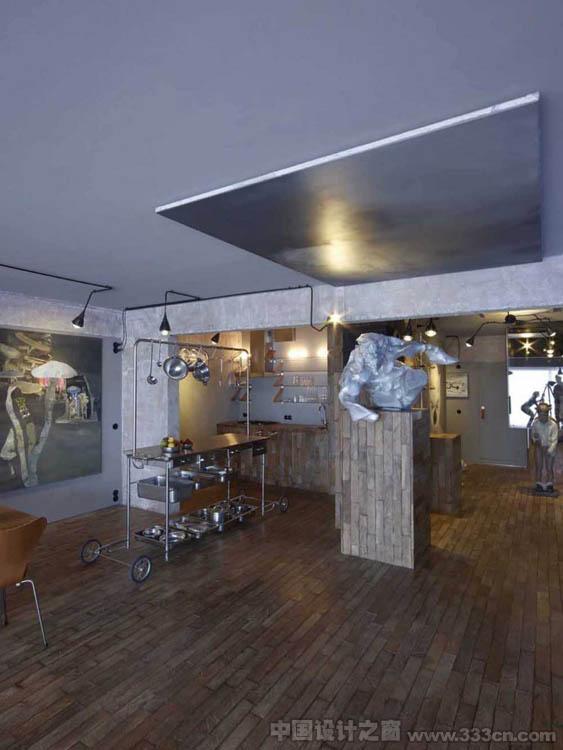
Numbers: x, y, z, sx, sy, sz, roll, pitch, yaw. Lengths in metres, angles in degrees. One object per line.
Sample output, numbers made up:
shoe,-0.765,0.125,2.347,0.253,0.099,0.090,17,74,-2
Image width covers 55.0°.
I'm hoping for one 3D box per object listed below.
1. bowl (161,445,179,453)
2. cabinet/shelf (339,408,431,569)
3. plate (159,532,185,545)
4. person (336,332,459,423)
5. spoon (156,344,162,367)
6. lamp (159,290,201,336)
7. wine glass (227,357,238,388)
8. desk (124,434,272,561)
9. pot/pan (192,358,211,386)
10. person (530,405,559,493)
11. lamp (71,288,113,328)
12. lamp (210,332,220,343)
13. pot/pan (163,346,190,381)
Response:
bowl,-0.995,0.667,4.834,0.153,0.049,0.168,0,1,0
cabinet/shelf,0.867,0.905,4.505,0.753,1.235,0.551,0,1,9
plate,-0.965,1.440,4.750,0.226,0.056,0.220,1,-3,-3
person,0.837,0.013,4.477,0.706,0.700,0.368,0,1,-2
spoon,-1.381,-0.220,6.136,0.049,0.268,0.249,0,1,-12
lamp,-1.067,-0.673,5.753,0.416,0.401,0.117,3,-5,-43
wine glass,-0.831,-0.053,9.153,0.149,0.423,0.324,0,1,-5
desk,-0.755,1.172,5.448,0.581,0.891,1.736,-2,-1,32
pot/pan,-0.849,-0.049,5.695,0.091,0.313,0.246,-17,19,-26
person,3.536,0.950,7.284,0.288,1.141,0.833,0,1,26
lamp,-1.835,-0.628,5.283,0.339,0.384,1.383,0,1,-20
lamp,-0.978,-0.540,7.984,0.120,0.178,0.045,-2,-2,6
pot/pan,-1.014,-0.111,5.165,0.231,0.296,0.153,-7,-2,-13
